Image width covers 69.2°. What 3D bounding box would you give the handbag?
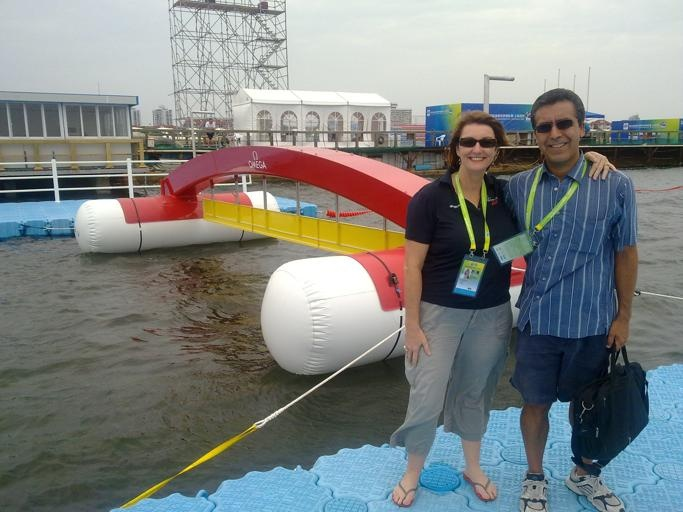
[{"bbox_3d":[1.601,0.910,2.936,0.417,0.648,0.242,-9,14,-21],"label":"handbag"}]
